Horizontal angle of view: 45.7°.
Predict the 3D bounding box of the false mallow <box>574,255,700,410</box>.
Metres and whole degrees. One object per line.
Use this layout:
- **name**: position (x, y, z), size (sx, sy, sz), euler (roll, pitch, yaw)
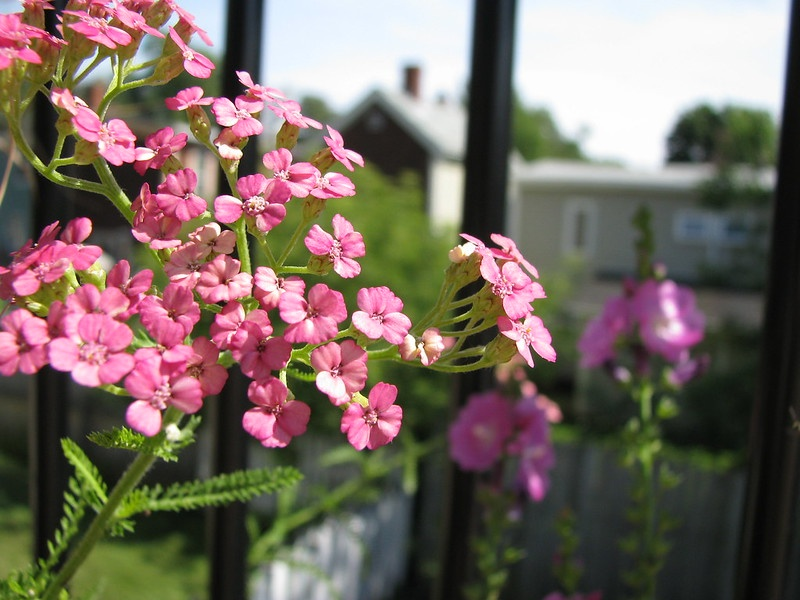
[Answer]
- **false mallow**: position (0.512, 0.069, 2.002), size (0.264, 0.280, 0.219), euler (0, 1, 12)
